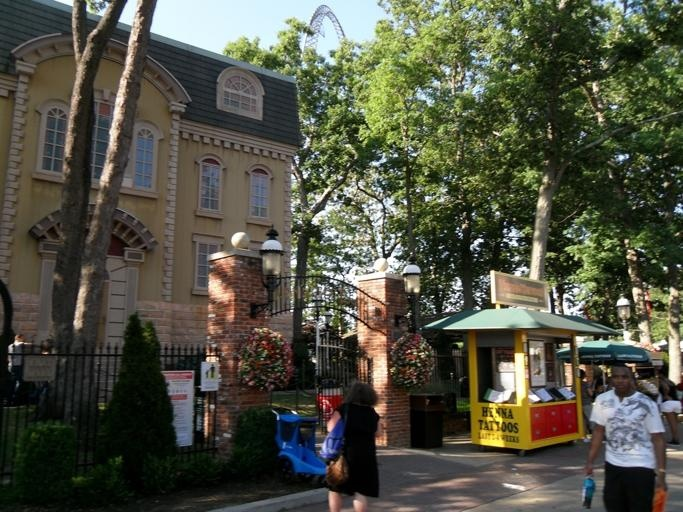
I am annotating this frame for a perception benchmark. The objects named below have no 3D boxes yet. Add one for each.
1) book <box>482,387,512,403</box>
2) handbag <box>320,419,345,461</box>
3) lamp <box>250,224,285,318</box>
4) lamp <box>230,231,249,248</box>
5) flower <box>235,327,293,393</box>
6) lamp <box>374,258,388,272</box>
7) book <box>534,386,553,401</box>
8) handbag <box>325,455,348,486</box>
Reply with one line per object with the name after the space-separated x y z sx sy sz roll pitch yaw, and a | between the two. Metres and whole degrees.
4.275 3.820 17.872 0.531 0.217 0.420 -15 -18 40 | book
-0.138 2.989 10.628 0.376 0.676 0.236 1 -13 -2 | handbag
-1.748 0.322 15.274 0.718 2.161 0.965 2 -13 -8 | lamp
-2.370 -0.360 15.267 0.342 0.439 0.379 1 -12 -2 | lamp
-1.742 2.318 14.807 1.212 1.391 0.592 2 -13 -8 | flower
1.103 0.262 18.752 0.424 0.343 0.416 -1 10 20 | lamp
5.566 3.818 18.002 0.438 0.373 0.086 -8 -45 -32 | book
-0.070 3.409 10.427 0.261 0.451 0.506 11 -17 -41 | handbag
